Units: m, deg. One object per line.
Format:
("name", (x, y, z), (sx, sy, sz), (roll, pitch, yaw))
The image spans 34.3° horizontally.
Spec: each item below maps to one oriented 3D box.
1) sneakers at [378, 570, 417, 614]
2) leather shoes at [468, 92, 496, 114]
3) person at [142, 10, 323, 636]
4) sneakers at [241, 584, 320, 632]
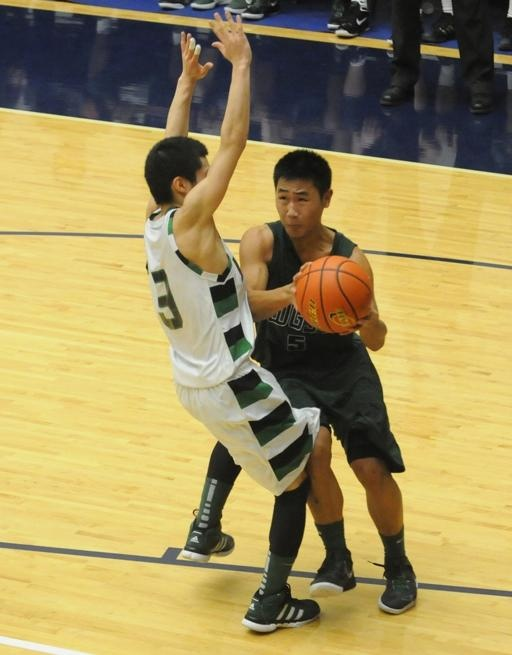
("sneakers", (0.375, 0.706, 2.192), (0.078, 0.056, 0.136), (4, 23, 21))
("leather shoes", (1.662, -1.662, 6.102), (0.166, 0.195, 0.131), (7, 7, 12))
("person", (-0.029, 0.017, 2.034), (0.505, 1.534, 0.295), (2, 8, -31))
("sneakers", (0.070, 0.715, 2.181), (0.254, 0.103, 0.084), (-4, 10, -31))
